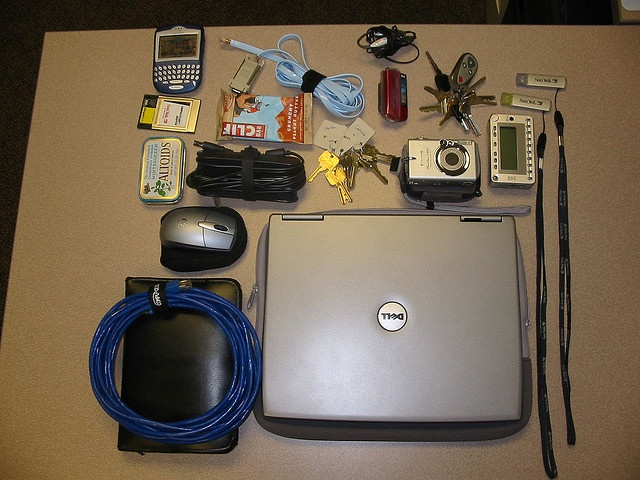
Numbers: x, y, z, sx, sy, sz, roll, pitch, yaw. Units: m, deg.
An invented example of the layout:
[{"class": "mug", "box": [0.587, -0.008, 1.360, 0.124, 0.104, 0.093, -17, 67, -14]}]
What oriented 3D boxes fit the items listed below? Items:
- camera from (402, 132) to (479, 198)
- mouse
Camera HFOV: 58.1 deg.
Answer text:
[{"class": "camera", "box": [0.335, -0.202, 1.615, 0.191, 0.157, 0.061, 2, -2, 2]}, {"class": "mouse", "box": [-0.325, -0.049, 1.726, 0.249, 0.179, 0.262, 3, 40, -1]}]
